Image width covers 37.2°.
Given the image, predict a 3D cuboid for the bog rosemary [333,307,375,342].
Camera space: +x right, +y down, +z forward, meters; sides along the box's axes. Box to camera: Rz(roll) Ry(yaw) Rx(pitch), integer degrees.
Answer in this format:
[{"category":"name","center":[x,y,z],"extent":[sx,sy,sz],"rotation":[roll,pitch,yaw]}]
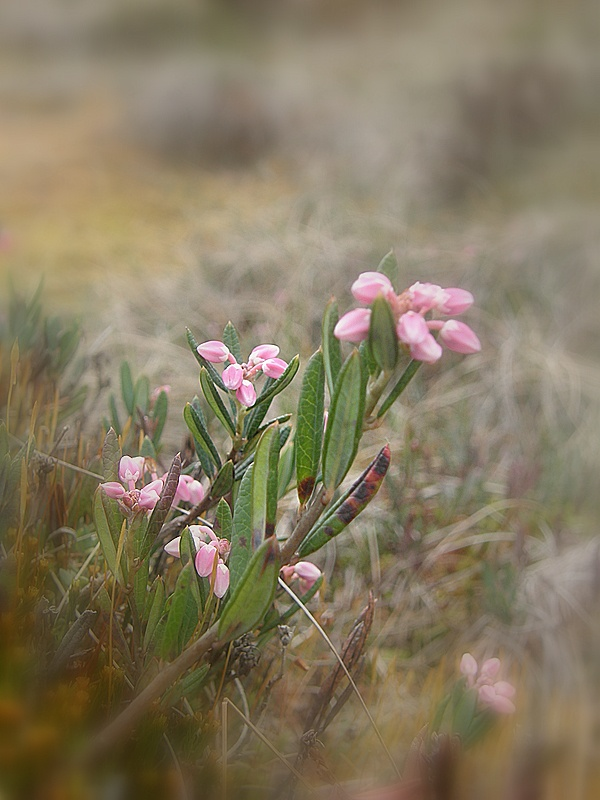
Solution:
[{"category":"bog rosemary","center":[0.037,-0.050,0.613],"extent":[0.026,0.017,0.010],"rotation":[-36,20,-29]}]

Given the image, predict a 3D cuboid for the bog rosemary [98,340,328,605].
[{"category":"bog rosemary","center":[-0.067,0.053,0.730],"extent":[0.171,0.122,0.218],"rotation":[4,54,1]}]

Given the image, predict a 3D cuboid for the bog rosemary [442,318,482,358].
[{"category":"bog rosemary","center":[0.114,-0.044,0.636],"extent":[0.031,0.021,0.011],"rotation":[31,-13,-6]}]

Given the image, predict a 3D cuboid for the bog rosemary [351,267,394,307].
[{"category":"bog rosemary","center":[0.050,-0.079,0.625],"extent":[0.027,0.023,0.015],"rotation":[-3,16,-19]}]
